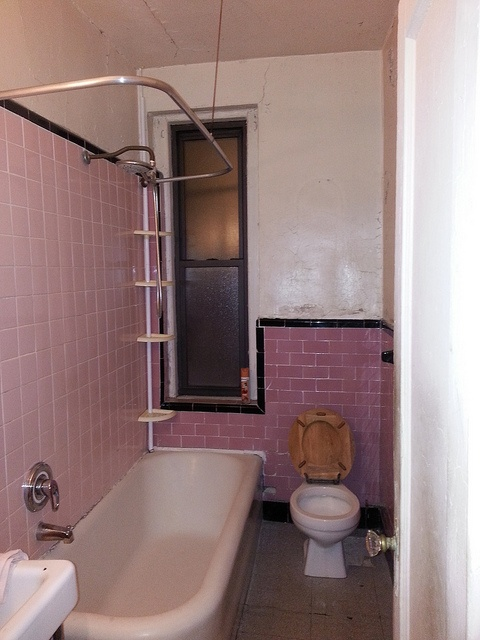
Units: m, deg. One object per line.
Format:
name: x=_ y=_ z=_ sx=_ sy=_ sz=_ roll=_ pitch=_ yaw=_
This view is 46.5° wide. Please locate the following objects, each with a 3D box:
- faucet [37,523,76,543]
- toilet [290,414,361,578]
faucet: x=-0.608 y=0.708 z=1.863 sx=0.107 sy=0.073 sz=0.071 roll=4 pitch=-2 yaw=12
toilet: x=0.379 y=0.805 z=2.593 sx=0.323 sy=0.657 sz=0.540 roll=0 pitch=5 yaw=6
